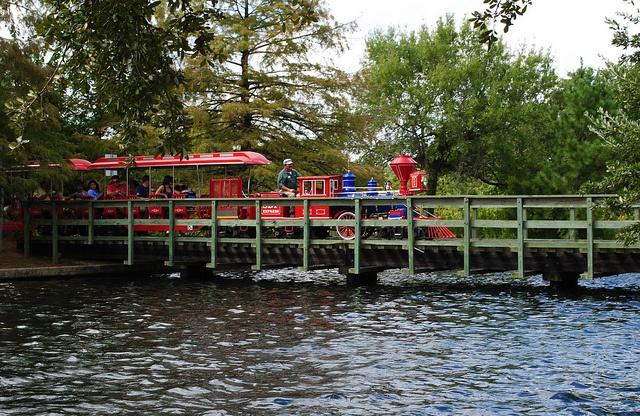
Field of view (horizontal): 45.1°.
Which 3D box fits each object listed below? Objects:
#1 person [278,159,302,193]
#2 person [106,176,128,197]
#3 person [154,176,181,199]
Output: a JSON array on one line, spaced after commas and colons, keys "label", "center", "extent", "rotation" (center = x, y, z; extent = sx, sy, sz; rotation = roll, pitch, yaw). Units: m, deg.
[{"label": "person", "center": [-1.021, -1.024, 26.763], "extent": [0.636, 1.395, 1.188], "rotation": [-5, -7, 6]}, {"label": "person", "center": [-7.718, -0.831, 30.138], "extent": [0.933, 0.880, 0.534], "rotation": [-3, -24, -18]}, {"label": "person", "center": [-5.549, -0.767, 28.988], "extent": [0.728, 0.929, 1.311], "rotation": [-5, -7, 10]}]
